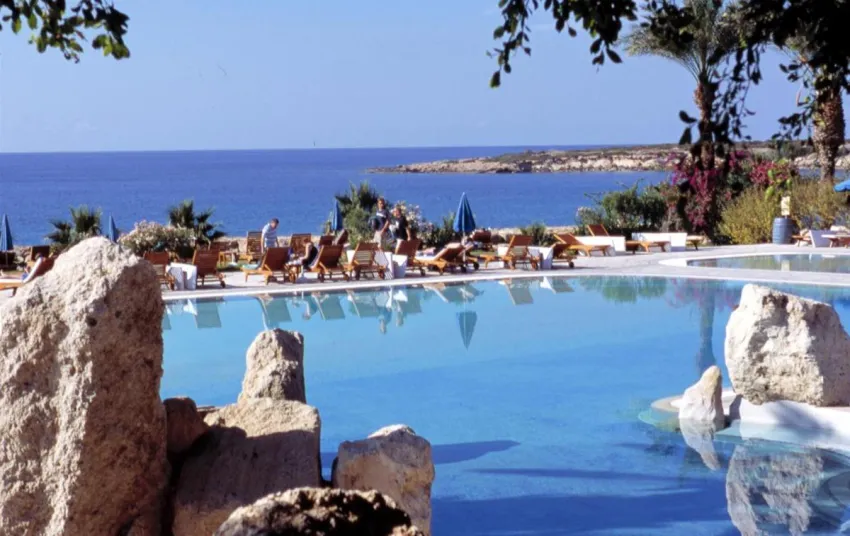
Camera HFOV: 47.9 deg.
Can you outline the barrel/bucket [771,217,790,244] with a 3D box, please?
[{"bbox_3d":[11.032,-1.180,29.828,0.620,1.019,0.692,1,-2,-11],"label":"barrel/bucket"}]
